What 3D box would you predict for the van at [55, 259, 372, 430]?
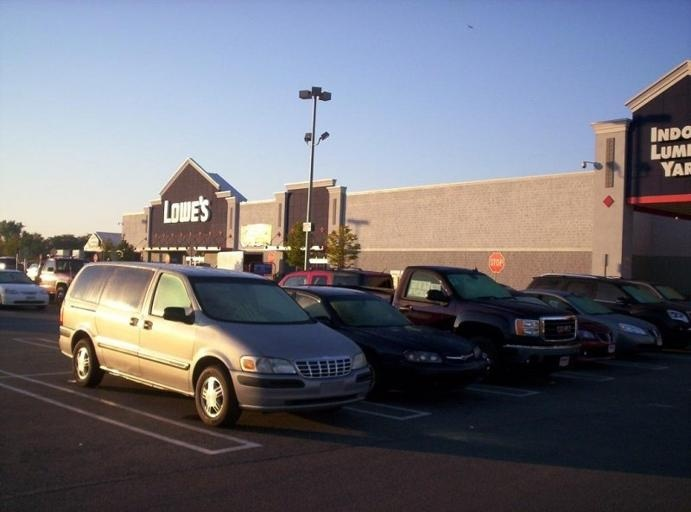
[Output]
[{"bbox_3d":[-2.158,1.233,8.676,4.489,1.622,2.255,2,-2,40],"label":"van"}]
